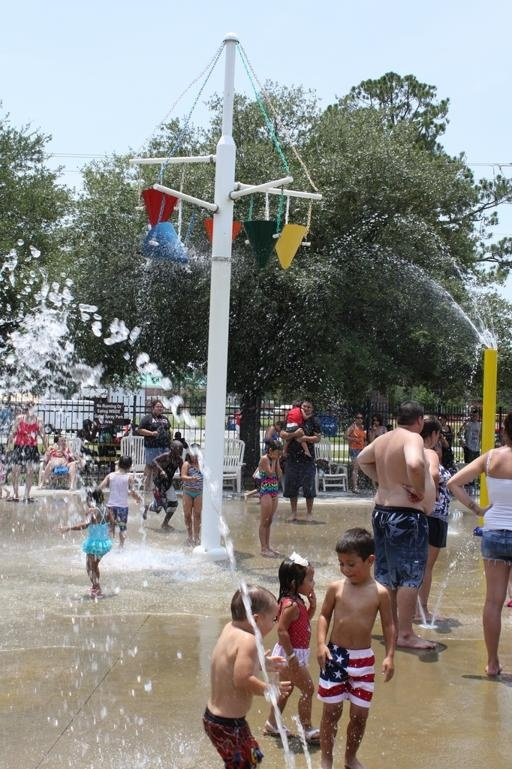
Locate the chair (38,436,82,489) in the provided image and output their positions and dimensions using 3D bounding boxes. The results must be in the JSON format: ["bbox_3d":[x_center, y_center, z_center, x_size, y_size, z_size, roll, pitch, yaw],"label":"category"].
[{"bbox_3d":[-3.512,1.394,14.936,0.639,1.084,0.590,8,-20,-30],"label":"chair"}]

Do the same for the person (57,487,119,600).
[{"bbox_3d":[-1.366,1.310,6.867,0.331,0.847,0.634,1,-1,-10],"label":"person"}]

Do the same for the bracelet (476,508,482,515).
[{"bbox_3d":[1.451,0.840,5.422,0.032,0.036,0.030,9,10,24],"label":"bracelet"}]

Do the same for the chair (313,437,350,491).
[{"bbox_3d":[1.563,1.699,16.886,0.755,1.128,0.747,1,-2,44],"label":"chair"}]

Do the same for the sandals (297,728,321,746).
[{"bbox_3d":[0.239,1.628,3.819,0.051,0.063,0.127,6,-18,-40],"label":"sandals"}]

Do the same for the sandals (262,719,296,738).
[{"bbox_3d":[0.099,1.611,3.873,0.121,0.060,0.061,-1,1,17],"label":"sandals"}]

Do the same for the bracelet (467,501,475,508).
[{"bbox_3d":[1.337,0.763,5.189,0.017,0.054,0.055,-32,24,24],"label":"bracelet"}]

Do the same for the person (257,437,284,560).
[{"bbox_3d":[0.135,1.209,8.792,0.230,1.205,0.666,1,-1,1],"label":"person"}]
